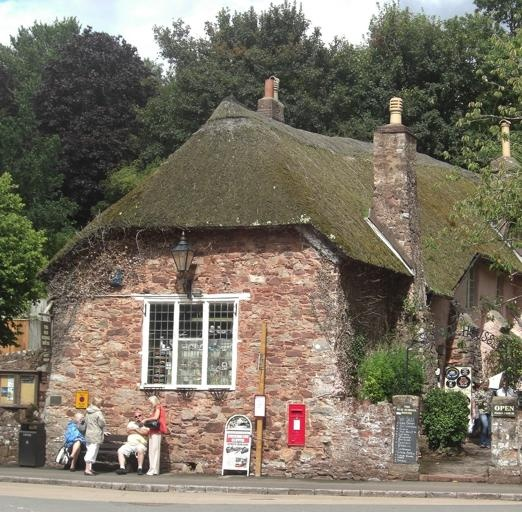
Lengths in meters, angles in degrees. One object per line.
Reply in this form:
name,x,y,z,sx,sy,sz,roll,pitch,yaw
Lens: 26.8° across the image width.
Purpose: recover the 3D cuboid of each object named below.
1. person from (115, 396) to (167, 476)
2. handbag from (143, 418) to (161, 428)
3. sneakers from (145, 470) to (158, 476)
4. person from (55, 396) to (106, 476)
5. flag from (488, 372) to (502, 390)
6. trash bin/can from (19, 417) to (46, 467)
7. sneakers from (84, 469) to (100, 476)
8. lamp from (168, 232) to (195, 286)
person,-2.716,4.162,25.513,1.050,1.840,0.556,2,-16,-5
handbag,-2.523,3.863,25.410,0.267,0.244,0.187,2,4,8
sneakers,-2.498,4.972,25.243,0.285,0.138,0.235,-1,-15,4
person,-4.226,4.324,26.084,0.774,1.156,1.938,17,14,-16
flag,6.824,3.592,31.550,0.408,0.465,0.122,6,-13,43
trash bin/can,-5.534,4.570,26.675,0.643,1.073,0.484,4,-16,-12
sneakers,-3.878,4.966,25.211,0.325,0.135,0.107,1,0,-5
lamp,-1.837,-0.035,26.269,0.640,1.084,0.581,1,-1,-37
